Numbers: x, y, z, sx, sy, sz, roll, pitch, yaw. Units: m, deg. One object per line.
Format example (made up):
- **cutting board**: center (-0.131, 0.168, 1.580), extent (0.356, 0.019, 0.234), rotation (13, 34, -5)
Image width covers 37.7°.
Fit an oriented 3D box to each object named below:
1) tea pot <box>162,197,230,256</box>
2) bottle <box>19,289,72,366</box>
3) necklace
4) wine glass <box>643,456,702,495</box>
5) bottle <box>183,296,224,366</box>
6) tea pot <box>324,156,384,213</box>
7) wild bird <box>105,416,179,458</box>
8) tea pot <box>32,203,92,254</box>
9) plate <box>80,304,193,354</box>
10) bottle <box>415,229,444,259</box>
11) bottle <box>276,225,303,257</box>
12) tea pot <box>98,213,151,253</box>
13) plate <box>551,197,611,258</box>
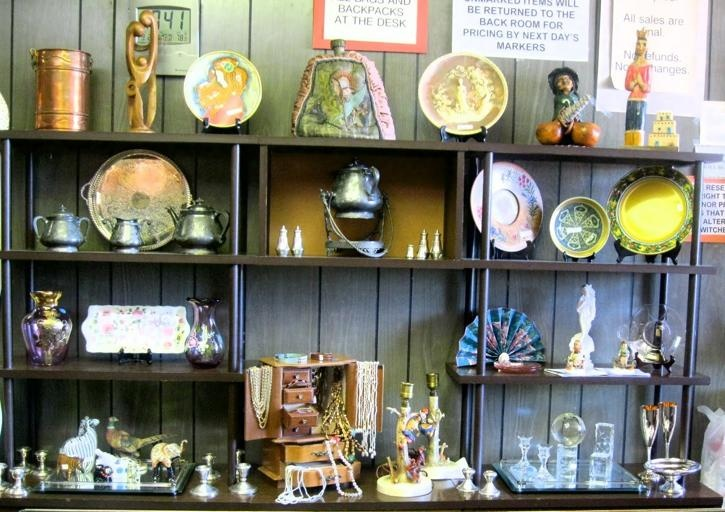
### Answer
- **tea pot**: center (-0.625, -0.116, 4.096), extent (0.261, 0.216, 0.199), rotation (2, 3, 18)
- **bottle**: center (-1.210, 0.286, 4.095), extent (0.182, 0.287, 0.176), rotation (-1, -3, 0)
- **necklace**: center (-0.194, 0.607, 4.091), extent (0.555, 0.517, 0.476), rotation (0, -3, -18)
- **wine glass**: center (1.187, 0.860, 4.075), extent (0.220, 0.116, 0.230), rotation (-3, 0, 23)
- **bottle**: center (-0.611, 0.296, 4.107), extent (0.156, 0.279, 0.164), rotation (1, 5, 0)
- **tea pot**: center (-0.006, -0.253, 4.113), extent (0.201, 0.225, 0.264), rotation (1, 0, -40)
- **wild bird**: center (-0.839, 0.719, 4.178), extent (0.311, 0.248, 0.127), rotation (1, -19, -12)
- **tea pot**: center (-1.143, -0.109, 4.072), extent (0.209, 0.193, 0.175), rotation (-2, 3, -13)
- **plate**: center (-0.878, 0.285, 4.146), extent (0.403, 0.193, 0.094), rotation (-2, -2, 6)
- **bottle**: center (0.268, -0.048, 4.166), extent (0.099, 0.114, 0.054), rotation (2, -10, -4)
- **bottle**: center (-0.282, -0.058, 4.099), extent (0.114, 0.125, 0.056), rotation (1, -6, -22)
- **tea pot**: center (-0.898, -0.082, 4.062), extent (0.178, 0.137, 0.137), rotation (2, 1, -5)
- **plate**: center (0.853, -0.114, 4.114), extent (0.224, 0.243, 0.056), rotation (-4, 6, 1)
